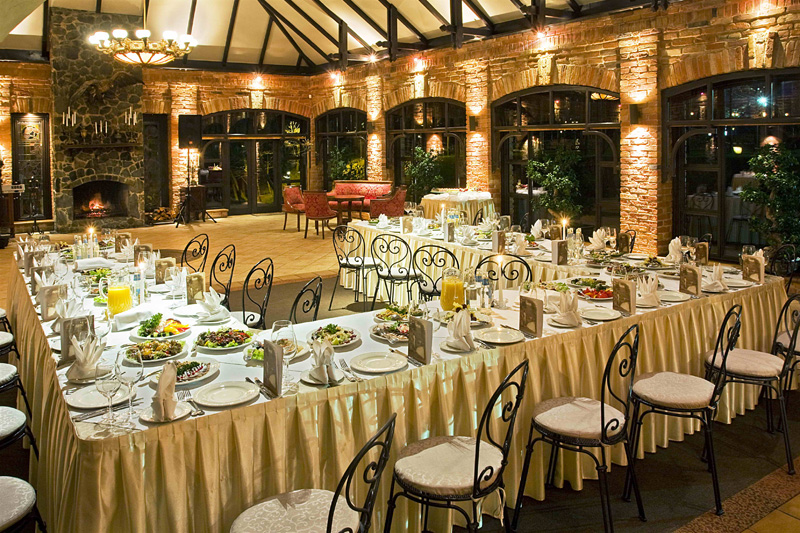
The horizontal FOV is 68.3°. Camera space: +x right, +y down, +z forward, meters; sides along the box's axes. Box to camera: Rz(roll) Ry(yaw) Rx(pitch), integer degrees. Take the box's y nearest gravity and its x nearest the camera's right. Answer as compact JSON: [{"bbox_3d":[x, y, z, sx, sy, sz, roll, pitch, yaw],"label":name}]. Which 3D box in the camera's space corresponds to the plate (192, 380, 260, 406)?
[{"bbox_3d":[-0.963,0.709,3.266,0.357,0.053,0.223,-4,15,-12],"label":"plate"}]

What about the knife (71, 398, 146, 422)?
[{"bbox_3d":[-1.555,0.768,3.135,0.311,0.017,0.060,-15,57,-15],"label":"knife"}]

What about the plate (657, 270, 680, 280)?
[{"bbox_3d":[2.401,0.078,5.278,0.169,0.026,0.175,7,19,41],"label":"plate"}]

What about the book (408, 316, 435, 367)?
[{"bbox_3d":[0.123,0.474,3.626,0.087,0.285,0.243,-11,12,-26],"label":"book"}]

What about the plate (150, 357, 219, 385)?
[{"bbox_3d":[-1.201,0.615,3.446,0.238,0.037,0.239,14,18,35],"label":"plate"}]

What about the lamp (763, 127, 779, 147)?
[{"bbox_3d":[4.966,-1.740,7.930,0.161,0.211,0.243,-13,19,-38],"label":"lamp"}]

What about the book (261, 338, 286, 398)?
[{"bbox_3d":[-0.710,0.575,3.310,0.072,0.273,0.268,-7,9,-26],"label":"book"}]

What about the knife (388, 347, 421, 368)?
[{"bbox_3d":[0.030,0.555,3.705,0.065,0.029,0.506,-7,13,-17],"label":"knife"}]

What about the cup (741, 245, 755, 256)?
[{"bbox_3d":[3.068,-0.129,5.198,0.111,0.079,0.114,0,11,0],"label":"cup"}]

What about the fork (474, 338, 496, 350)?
[{"bbox_3d":[0.547,0.515,3.855,0.043,0.010,0.166,-10,11,-13],"label":"fork"}]

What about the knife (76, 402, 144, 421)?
[{"bbox_3d":[-1.548,0.773,3.128,0.312,0.017,0.056,-8,32,-17],"label":"knife"}]

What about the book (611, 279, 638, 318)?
[{"bbox_3d":[1.650,0.248,4.343,0.075,0.220,0.215,-3,15,-16],"label":"book"}]

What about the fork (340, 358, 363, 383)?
[{"bbox_3d":[-0.302,0.633,3.561,0.052,0.059,0.393,-10,22,-15],"label":"fork"}]

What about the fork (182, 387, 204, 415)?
[{"bbox_3d":[-1.126,0.753,3.204,0.062,0.053,0.367,-14,22,-23],"label":"fork"}]

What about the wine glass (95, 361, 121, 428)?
[{"bbox_3d":[-1.528,0.667,3.104,0.116,0.242,0.258,-8,16,-27],"label":"wine glass"}]

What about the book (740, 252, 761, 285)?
[{"bbox_3d":[2.990,0.030,5.028,0.062,0.329,0.233,-2,6,-25],"label":"book"}]

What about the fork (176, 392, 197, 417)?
[{"bbox_3d":[-1.158,0.753,3.186,0.061,0.052,0.375,1,10,-27],"label":"fork"}]
